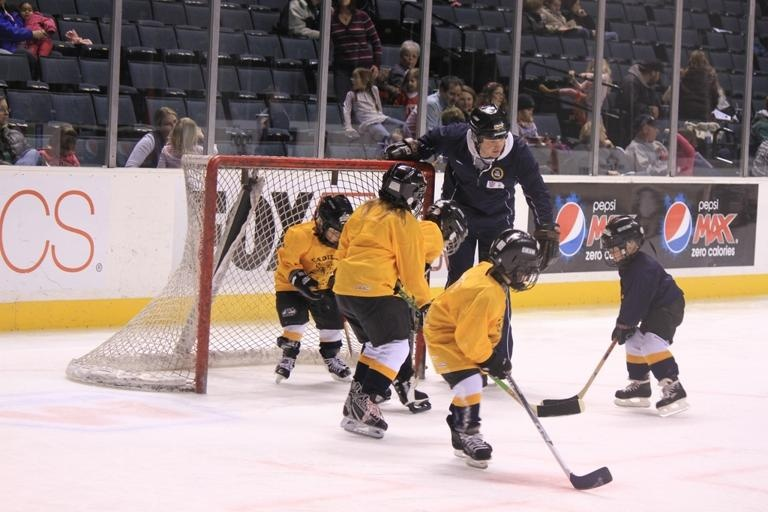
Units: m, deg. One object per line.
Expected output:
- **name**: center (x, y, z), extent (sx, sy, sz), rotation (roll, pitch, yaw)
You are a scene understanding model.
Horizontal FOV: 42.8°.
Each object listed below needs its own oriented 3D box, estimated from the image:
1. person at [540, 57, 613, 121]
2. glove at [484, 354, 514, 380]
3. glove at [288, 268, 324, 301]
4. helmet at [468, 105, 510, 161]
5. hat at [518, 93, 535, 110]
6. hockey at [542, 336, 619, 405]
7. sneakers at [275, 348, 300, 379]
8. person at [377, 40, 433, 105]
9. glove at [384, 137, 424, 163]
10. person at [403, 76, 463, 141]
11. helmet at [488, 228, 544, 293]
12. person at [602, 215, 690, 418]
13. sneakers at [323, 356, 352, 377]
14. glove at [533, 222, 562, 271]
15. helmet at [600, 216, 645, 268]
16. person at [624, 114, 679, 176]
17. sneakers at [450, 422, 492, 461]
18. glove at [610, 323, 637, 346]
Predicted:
- **person**: center (2.032, -1.819, 10.426), extent (0.777, 0.720, 0.335), rotation (12, -9, -7)
- **glove**: center (0.666, 0.643, 5.706), extent (0.125, 0.093, 0.172), rotation (20, -12, 17)
- **glove**: center (-0.554, 0.202, 6.943), extent (0.256, 0.100, 0.149), rotation (41, 53, 12)
- **helmet**: center (0.727, -0.854, 6.775), extent (0.274, 0.388, 0.309), rotation (4, 12, 3)
- **hat**: center (1.456, -1.605, 10.080), extent (0.183, 0.154, 0.132), rotation (-18, 13, -2)
- **hockey**: center (1.429, 0.774, 6.777), extent (0.132, 0.472, 0.476), rotation (31, -16, 2)
- **sneakers**: center (-0.686, 0.753, 7.070), extent (0.104, 0.155, 0.319), rotation (29, 28, -25)
- **person**: center (0.178, -1.761, 9.588), extent (0.361, 0.694, 0.398), rotation (7, -9, -25)
- **glove**: center (0.143, -0.764, 7.039), extent (0.221, 0.094, 0.154), rotation (-10, 37, -20)
- **person**: center (0.458, -1.449, 9.859), extent (0.282, 0.259, 0.815), rotation (17, -35, -1)
- **helmet**: center (0.778, 0.018, 5.797), extent (0.363, 0.334, 0.253), rotation (12, 7, -21)
- **person**: center (1.840, 0.399, 6.769), extent (0.516, 1.312, 0.714), rotation (-3, 14, -26)
- **sneakers**: center (-0.351, 0.822, 7.220), extent (0.100, 0.098, 0.248), rotation (-41, 25, -11)
- **glove**: center (1.164, -0.068, 6.579), extent (0.127, 0.283, 0.297), rotation (1, -9, 37)
- **helmet**: center (1.687, -0.140, 6.871), extent (0.330, 0.332, 0.289), rotation (-25, 27, -29)
- **person**: center (2.990, -1.204, 10.822), extent (0.667, 0.675, 0.755), rotation (5, 8, 27)
- **sneakers**: center (0.506, 1.109, 5.698), extent (0.123, 0.137, 0.332), rotation (-13, -3, -21)
- **glove**: center (1.665, 0.535, 6.770), extent (0.161, 0.161, 0.144), rotation (6, 13, 14)
